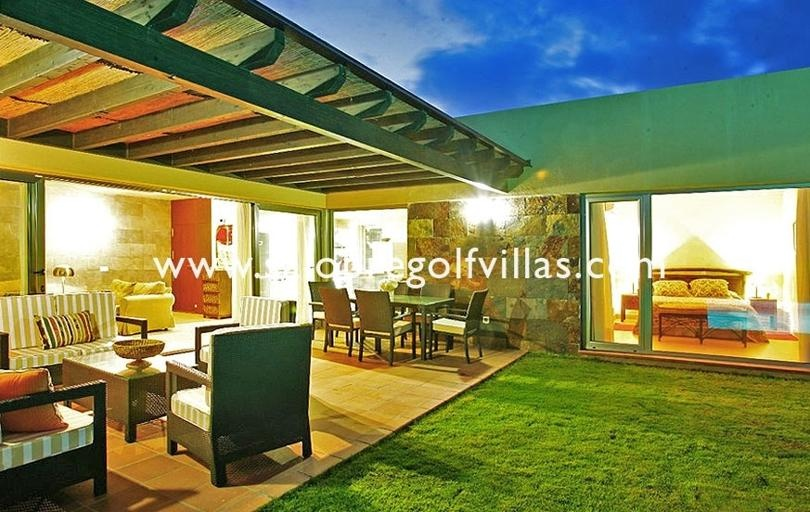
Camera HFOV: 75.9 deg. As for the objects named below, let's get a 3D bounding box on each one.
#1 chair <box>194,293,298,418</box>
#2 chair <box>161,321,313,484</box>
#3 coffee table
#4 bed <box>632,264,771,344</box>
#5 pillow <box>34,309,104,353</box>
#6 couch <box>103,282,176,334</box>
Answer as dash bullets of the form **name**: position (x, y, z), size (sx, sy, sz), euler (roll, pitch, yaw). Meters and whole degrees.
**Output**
- **chair**: position (-2.270, 1.297, 7.553), size (1.042, 1.218, 1.051), euler (3, 6, 35)
- **chair**: position (-1.881, 1.548, 5.957), size (1.734, 1.390, 1.582), euler (-1, -1, 17)
- **coffee table**: position (-3.479, 1.757, 6.485), size (1.320, 0.538, 0.954), euler (0, -1, 28)
- **bed**: position (5.147, 0.801, 9.052), size (1.529, 0.919, 1.607), euler (-3, -5, 35)
- **pillow**: position (-4.692, 1.035, 7.272), size (0.177, 0.476, 0.625), euler (-35, -14, 28)
- **couch**: position (-5.957, 1.056, 11.010), size (1.703, 1.009, 1.302), euler (0, 0, 26)
